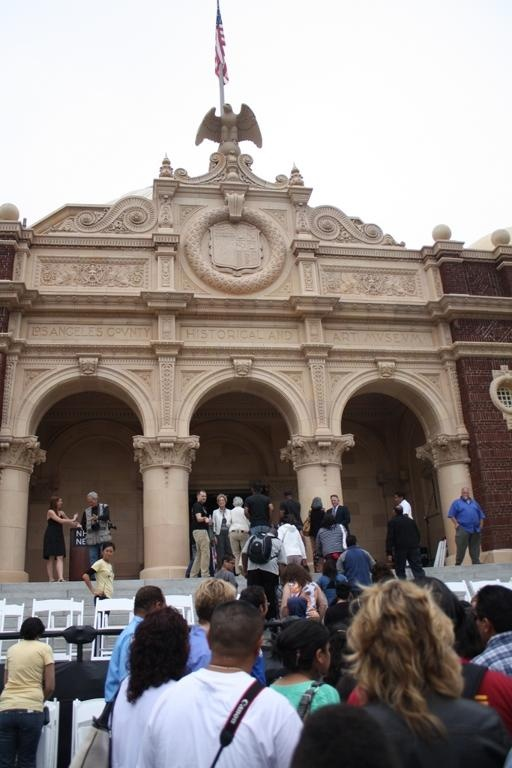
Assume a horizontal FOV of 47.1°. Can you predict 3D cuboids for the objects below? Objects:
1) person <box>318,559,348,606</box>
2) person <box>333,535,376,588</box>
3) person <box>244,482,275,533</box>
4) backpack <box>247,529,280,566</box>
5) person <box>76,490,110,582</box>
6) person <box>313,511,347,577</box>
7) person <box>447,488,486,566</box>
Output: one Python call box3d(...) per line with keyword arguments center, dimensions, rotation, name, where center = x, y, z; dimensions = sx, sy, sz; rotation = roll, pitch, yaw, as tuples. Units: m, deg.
box3d(center=(1.090, 2.954, 8.593), dimensions=(0.455, 0.276, 1.032), rotation=(-13, -53, -9), name="person")
box3d(center=(1.496, 2.840, 8.730), dimensions=(0.559, 1.246, 0.383), rotation=(-6, 12, 8), name="person")
box3d(center=(0.065, 2.468, 10.661), dimensions=(0.469, 1.392, 0.399), rotation=(-5, 14, -5), name="person")
box3d(center=(0.082, 2.433, 8.656), dimensions=(0.359, 0.451, 0.443), rotation=(1, -29, 15), name="backpack")
box3d(center=(-3.456, 3.330, 12.728), dimensions=(0.732, 1.914, 0.691), rotation=(-10, -18, 1), name="person")
box3d(center=(1.320, 2.897, 10.668), dimensions=(0.550, 1.100, 0.627), rotation=(-4, 5, -14), name="person")
box3d(center=(5.082, 3.481, 14.174), dimensions=(0.817, 1.718, 1.419), rotation=(-10, -21, 16), name="person")
